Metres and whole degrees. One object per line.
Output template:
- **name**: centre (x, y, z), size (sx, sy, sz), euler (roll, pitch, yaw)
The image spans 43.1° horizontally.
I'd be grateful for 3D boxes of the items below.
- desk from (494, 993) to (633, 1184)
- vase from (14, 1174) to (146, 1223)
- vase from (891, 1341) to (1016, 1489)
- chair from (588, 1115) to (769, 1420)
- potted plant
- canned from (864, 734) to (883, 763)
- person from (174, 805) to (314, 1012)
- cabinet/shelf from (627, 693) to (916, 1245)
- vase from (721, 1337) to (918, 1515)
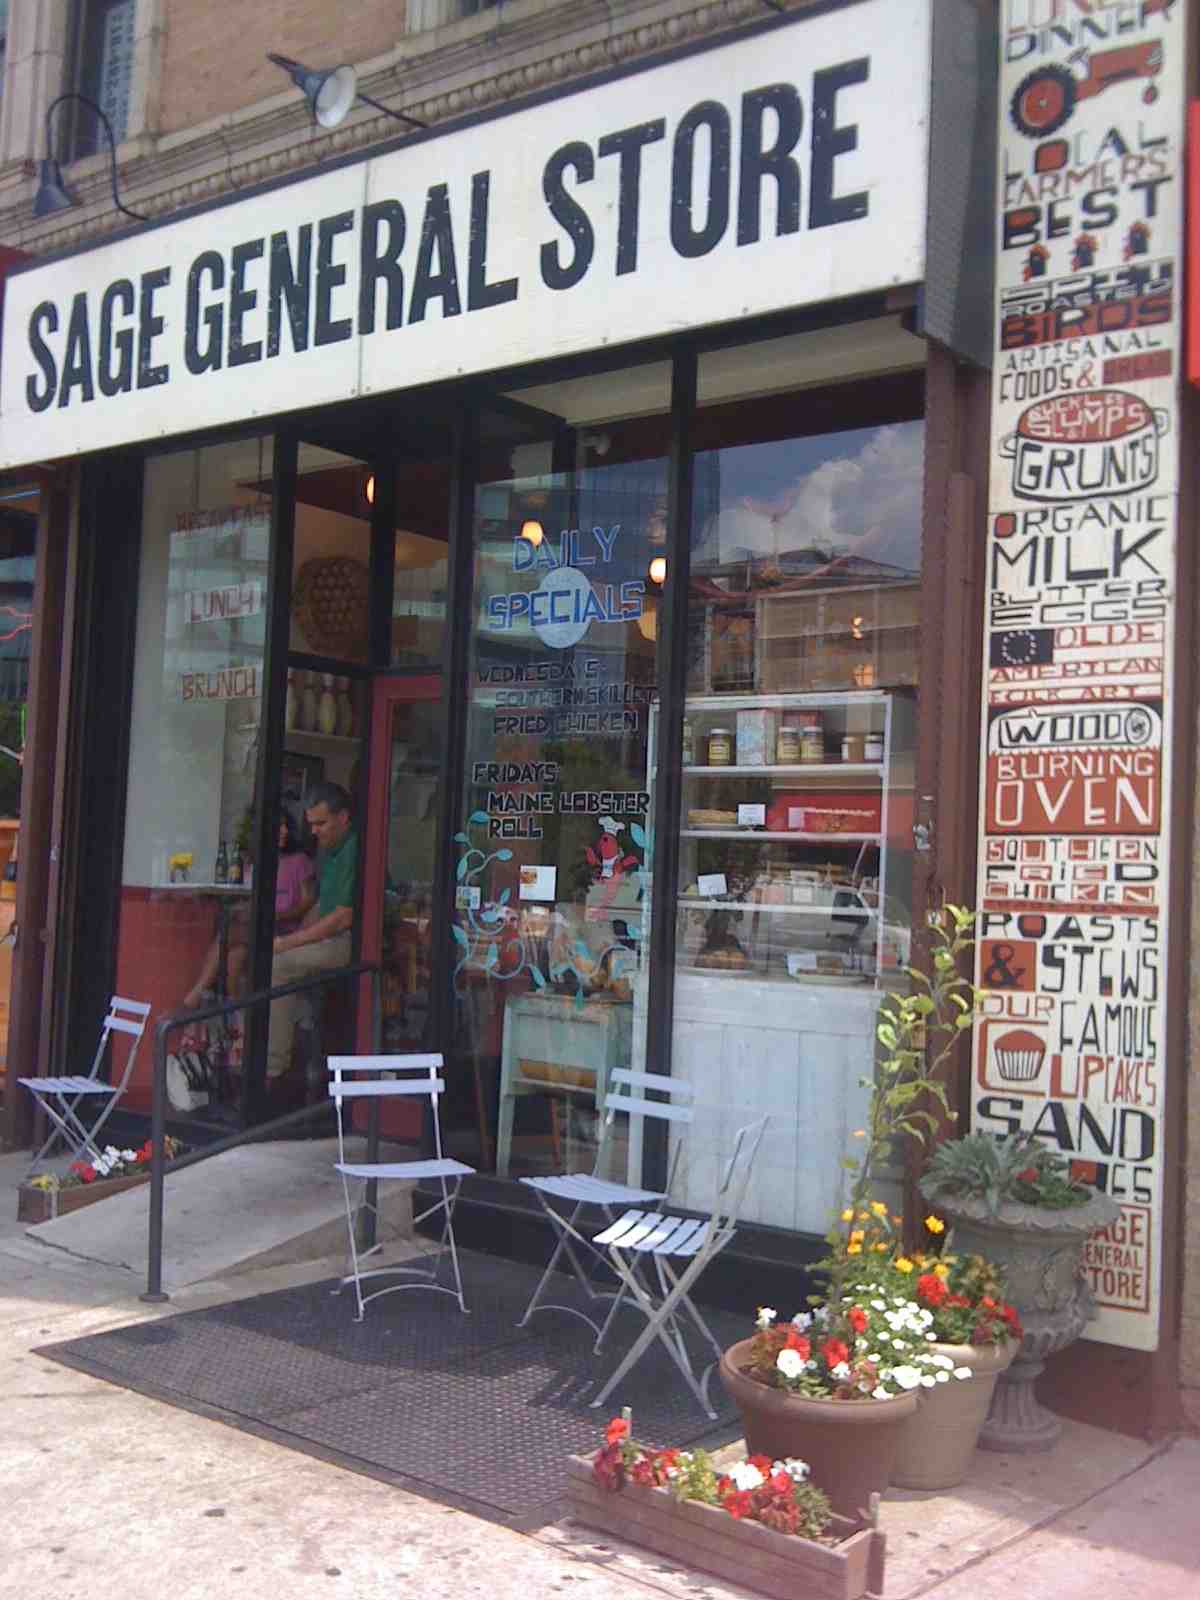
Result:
- **desk**: centre (-0.178, 1.154, 6.006), size (0.537, 0.654, 0.522), euler (10, -15, -15)
- **vase**: centre (-2.134, 1.617, 6.265), size (0.197, 0.099, 0.413), euler (-1, -1, 43)
- **vase**: centre (0.830, 1.499, 3.795), size (0.354, 0.381, 0.349), euler (2, -10, -5)
- **chair**: centre (0.263, 1.315, 4.645), size (0.529, 0.796, 1.460), euler (2, -3, 1)
- **potted plant**: centre (1.083, 1.339, 4.329), size (0.667, 0.909, 0.675), euler (1, -3, 1)
- **canned**: centre (0.906, -0.170, 5.062), size (0.077, 0.118, 0.078), euler (0, -2, 1)
- **person**: centre (-1.646, 0.521, 7.202), size (0.254, 0.990, 0.667), euler (5, -4, -45)
- **cabinet/shelf**: centre (0.614, 0.533, 5.232), size (0.830, 1.815, 0.293), euler (-1, -3, 18)
- **vase**: centre (0.469, 1.376, 3.355), size (0.309, 0.208, 0.309), euler (0, -6, 0)
